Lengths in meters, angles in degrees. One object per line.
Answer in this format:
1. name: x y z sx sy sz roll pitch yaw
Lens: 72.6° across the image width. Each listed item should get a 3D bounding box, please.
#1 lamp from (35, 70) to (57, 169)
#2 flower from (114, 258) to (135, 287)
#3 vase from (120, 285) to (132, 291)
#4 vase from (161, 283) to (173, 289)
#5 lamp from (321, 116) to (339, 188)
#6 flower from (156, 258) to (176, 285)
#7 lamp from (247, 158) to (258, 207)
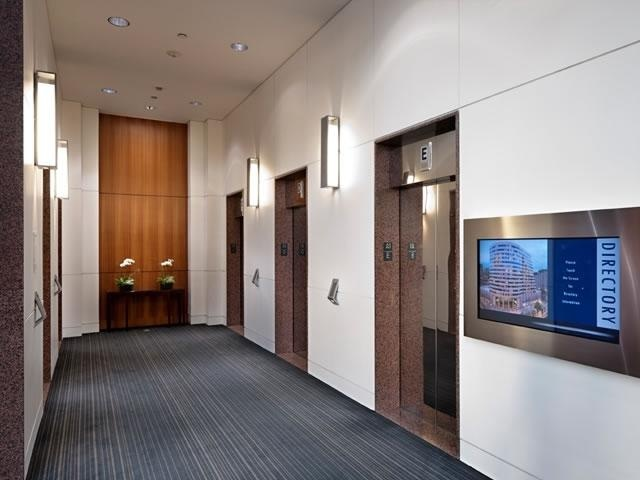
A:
1. lamp: -2.760 -1.220 4.410 0.168 0.974 0.234 -2 4 -21
2. flower: -4.277 0.730 9.668 0.516 0.913 0.519 3 -4 -28
3. vase: -4.164 1.050 9.457 0.219 0.172 0.115 -4 5 -40
4. vase: -3.433 1.033 9.845 0.147 0.124 0.148 4 -4 -41
5. lamp: 0.138 -1.142 5.729 0.248 0.939 0.146 -1 3 0
6. flower: -3.490 0.735 9.977 0.365 0.582 0.421 -2 4 -20
7. lamp: -1.239 -1.057 8.103 0.183 0.917 0.351 -3 4 -39
